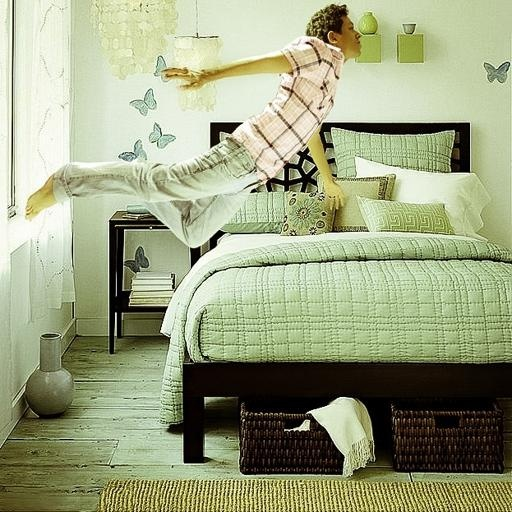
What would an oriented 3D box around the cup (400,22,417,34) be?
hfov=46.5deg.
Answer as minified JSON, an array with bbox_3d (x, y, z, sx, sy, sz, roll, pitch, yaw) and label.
[{"bbox_3d":[0.992,-1.478,3.867,0.081,0.053,0.076,-1,26,1],"label":"cup"}]

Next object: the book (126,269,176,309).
[{"bbox_3d":[-0.641,0.203,3.684,0.288,0.175,0.209,0,1,-4],"label":"book"}]

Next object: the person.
[{"bbox_3d":[-0.100,-0.444,2.107,1.282,0.847,0.548,-6,8,-34],"label":"person"}]

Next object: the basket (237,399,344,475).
[{"bbox_3d":[0.110,0.641,2.157,0.284,0.134,0.270,-1,2,-1],"label":"basket"}]

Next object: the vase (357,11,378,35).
[{"bbox_3d":[0.714,-1.482,3.825,0.168,0.146,0.160,-7,20,-20],"label":"vase"}]

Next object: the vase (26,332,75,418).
[{"bbox_3d":[-0.898,0.525,2.584,0.198,0.369,0.099,-4,7,-19],"label":"vase"}]

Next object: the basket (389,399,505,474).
[{"bbox_3d":[0.687,0.662,2.127,0.318,0.178,0.304,-1,-2,4],"label":"basket"}]
